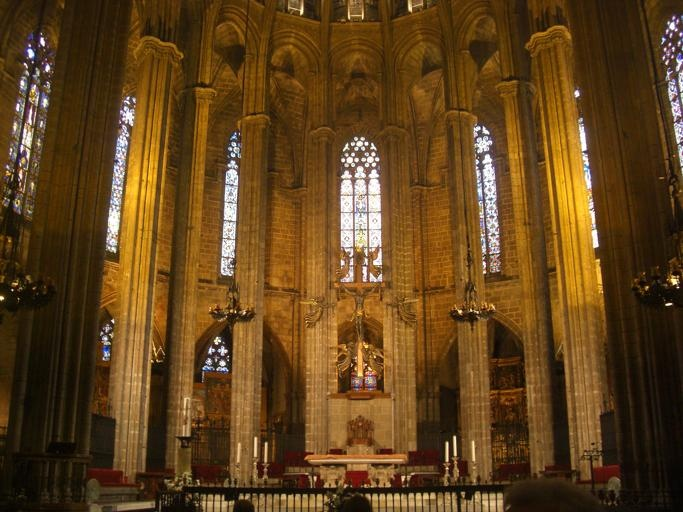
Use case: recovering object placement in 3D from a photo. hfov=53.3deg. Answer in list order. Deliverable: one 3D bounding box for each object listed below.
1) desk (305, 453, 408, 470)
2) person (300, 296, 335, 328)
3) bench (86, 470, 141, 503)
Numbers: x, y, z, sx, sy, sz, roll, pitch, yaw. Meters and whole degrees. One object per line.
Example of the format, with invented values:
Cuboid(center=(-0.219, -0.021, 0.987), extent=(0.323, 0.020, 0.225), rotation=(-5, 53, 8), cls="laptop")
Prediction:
Cuboid(center=(0.453, 5.920, 19.893), extent=(2.709, 0.470, 1.189), rotation=(1, -23, -2), cls="desk")
Cuboid(center=(-0.794, 1.983, 24.107), extent=(1.021, 1.068, 0.454), rotation=(2, -22, -3), cls="person")
Cuboid(center=(-5.728, 5.673, 16.858), extent=(0.884, 0.919, 3.153), rotation=(2, -23, -4), cls="bench")
